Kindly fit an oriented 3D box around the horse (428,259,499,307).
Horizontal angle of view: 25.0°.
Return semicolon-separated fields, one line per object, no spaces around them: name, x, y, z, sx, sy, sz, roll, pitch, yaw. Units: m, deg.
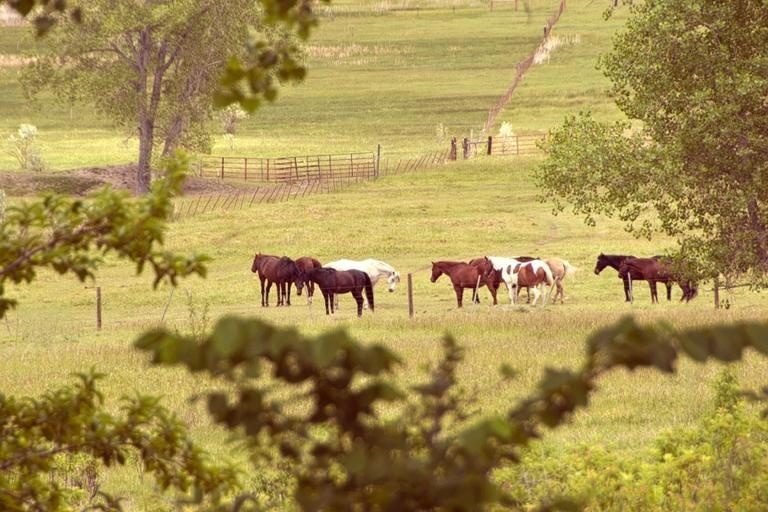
horse;4.866;1.396;102.655;4.345;3.147;1.256;-4;14;12
